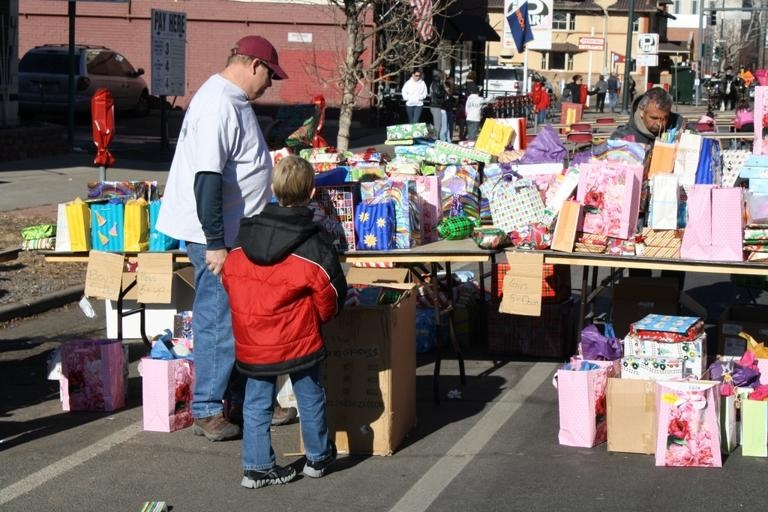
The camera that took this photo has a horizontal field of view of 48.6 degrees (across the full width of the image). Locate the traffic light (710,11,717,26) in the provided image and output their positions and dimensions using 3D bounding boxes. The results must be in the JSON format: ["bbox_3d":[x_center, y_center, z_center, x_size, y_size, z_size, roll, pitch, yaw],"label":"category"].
[{"bbox_3d":[18.900,-13.748,48.970,0.316,0.809,2.246,4,16,18],"label":"traffic light"}]

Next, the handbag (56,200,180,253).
[{"bbox_3d":[-2.694,-0.263,8.226,0.742,0.386,0.636,2,2,4],"label":"handbag"}]

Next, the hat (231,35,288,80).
[{"bbox_3d":[-1.056,-1.720,7.114,0.469,0.291,0.340,15,12,-22],"label":"hat"}]

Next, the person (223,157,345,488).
[{"bbox_3d":[-0.769,0.521,6.504,0.881,2.474,0.488,-4,13,-15],"label":"person"}]

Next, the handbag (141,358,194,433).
[{"bbox_3d":[-1.907,1.227,7.418,0.305,0.615,0.583,1,2,13],"label":"handbag"}]

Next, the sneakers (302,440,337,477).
[{"bbox_3d":[-0.507,1.590,6.713,0.141,0.200,0.419,9,30,20],"label":"sneakers"}]

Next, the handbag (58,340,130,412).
[{"bbox_3d":[-2.657,1.075,7.996,0.680,0.809,0.561,0,0,1],"label":"handbag"}]

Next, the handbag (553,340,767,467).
[{"bbox_3d":[2.375,1.293,6.914,1.730,0.655,0.653,-3,15,-9],"label":"handbag"}]

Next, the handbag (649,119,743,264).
[{"bbox_3d":[2.921,-0.528,8.005,0.818,0.869,1.086,4,15,17],"label":"handbag"}]

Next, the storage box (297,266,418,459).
[{"bbox_3d":[-0.265,0.882,7.262,0.796,1.409,0.800,-1,7,-7],"label":"storage box"}]

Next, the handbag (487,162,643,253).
[{"bbox_3d":[1.740,-0.438,8.015,1.030,0.430,0.910,-7,39,21],"label":"handbag"}]

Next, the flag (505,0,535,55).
[{"bbox_3d":[3.942,-6.733,24.919,0.473,1.425,1.164,9,17,35],"label":"flag"}]
